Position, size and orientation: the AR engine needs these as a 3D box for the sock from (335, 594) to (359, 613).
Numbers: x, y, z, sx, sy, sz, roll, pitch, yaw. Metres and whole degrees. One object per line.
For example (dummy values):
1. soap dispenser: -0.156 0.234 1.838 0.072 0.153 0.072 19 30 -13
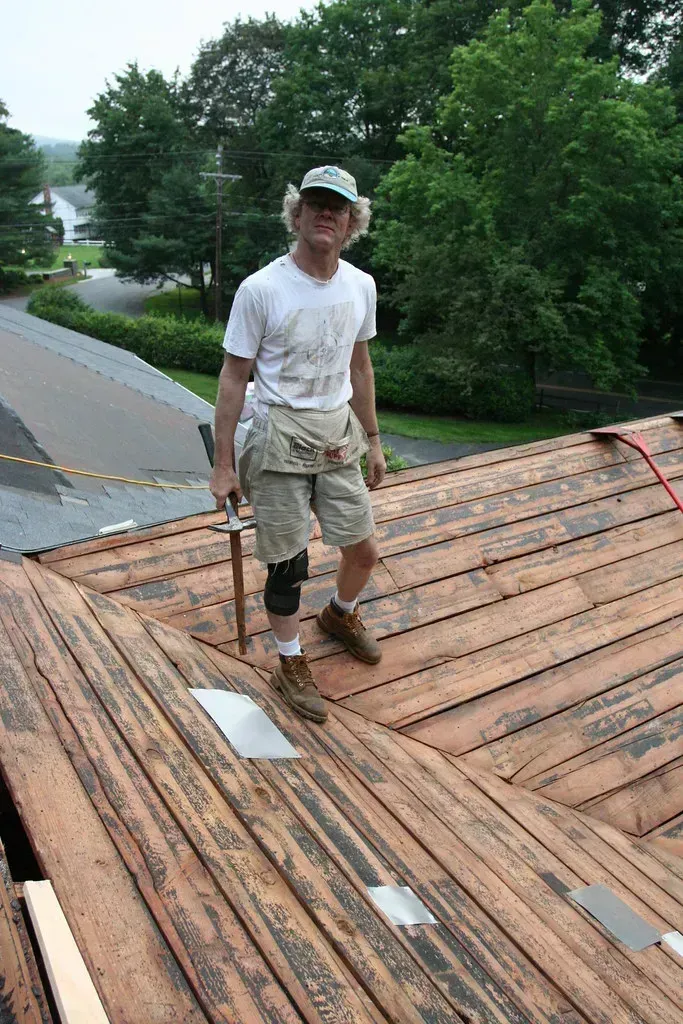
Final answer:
1. sock: 0.015 0.319 2.624 0.060 0.053 0.075 3 1 0

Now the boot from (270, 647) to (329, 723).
1. boot: -0.129 0.539 2.391 0.100 0.141 0.291 -5 24 -36

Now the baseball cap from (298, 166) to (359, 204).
1. baseball cap: -0.034 -0.923 2.101 0.166 0.119 0.212 1 12 -3

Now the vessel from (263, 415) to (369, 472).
1. vessel: -0.076 -0.224 2.259 0.360 0.194 0.191 -6 14 -31

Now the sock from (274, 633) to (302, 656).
1. sock: -0.153 0.420 2.402 0.082 0.071 0.076 -7 6 34

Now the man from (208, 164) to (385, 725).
1. man: -0.084 -0.176 2.286 0.588 1.665 0.479 -15 26 -34

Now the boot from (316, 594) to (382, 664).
1. boot: 0.024 0.435 2.719 0.080 0.225 0.144 -47 -1 -39

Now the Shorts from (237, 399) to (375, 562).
1. Shorts: -0.096 -0.104 2.268 0.450 0.541 0.294 -13 18 -31
